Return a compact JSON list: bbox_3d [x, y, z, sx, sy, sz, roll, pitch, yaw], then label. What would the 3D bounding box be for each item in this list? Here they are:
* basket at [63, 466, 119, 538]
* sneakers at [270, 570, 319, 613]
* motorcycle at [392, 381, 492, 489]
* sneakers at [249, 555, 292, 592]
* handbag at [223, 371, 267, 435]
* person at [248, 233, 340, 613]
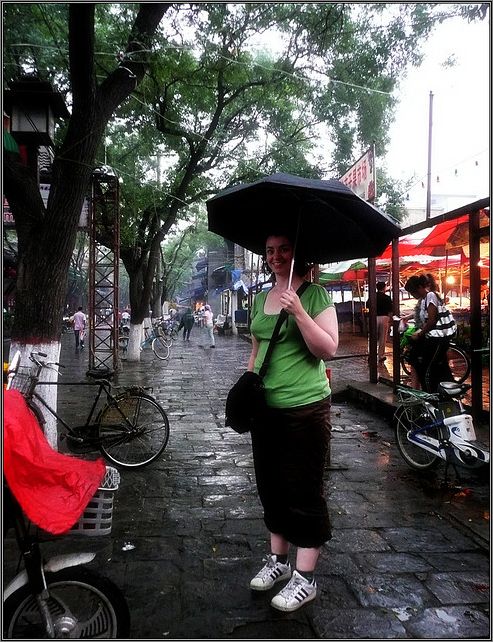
[{"bbox_3d":[-0.598,0.691,1.986,0.187,0.200,0.293,4,-16,-12],"label":"basket"},{"bbox_3d":[0.212,1.237,2.322,0.240,0.163,0.113,17,-19,-36],"label":"sneakers"},{"bbox_3d":[1.658,0.892,4.266,0.370,0.819,1.106,0,1,-16],"label":"motorcycle"},{"bbox_3d":[0.107,1.247,2.481,0.097,0.159,0.290,-14,-28,39],"label":"sneakers"},{"bbox_3d":[-0.004,0.356,2.266,0.087,0.272,0.182,14,-6,-6],"label":"handbag"},{"bbox_3d":[0.205,0.462,2.371,0.384,1.739,0.520,-1,2,-40],"label":"person"}]
